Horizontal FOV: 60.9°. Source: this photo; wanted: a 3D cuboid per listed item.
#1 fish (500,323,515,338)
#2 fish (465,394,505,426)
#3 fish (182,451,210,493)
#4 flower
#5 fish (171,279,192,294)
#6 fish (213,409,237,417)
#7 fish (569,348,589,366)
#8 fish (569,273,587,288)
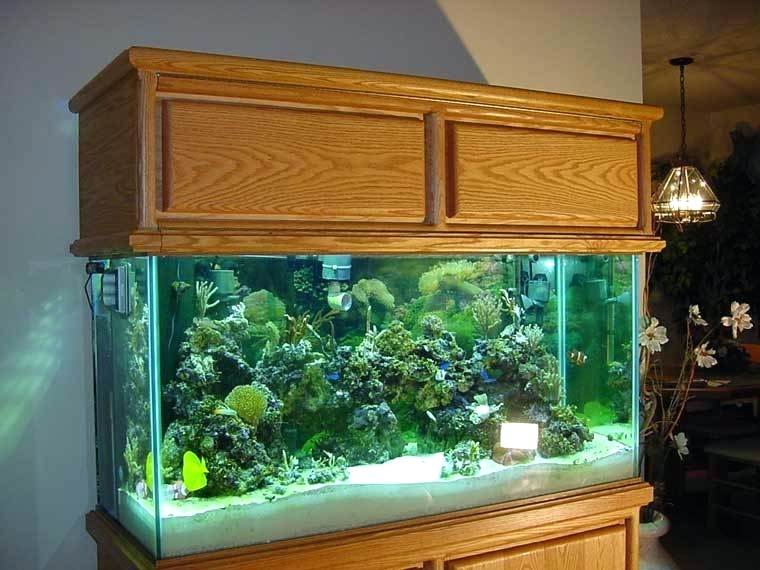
[{"bbox_3d":[0.581,0.205,2.925,0.072,0.057,0.008,-4,0,-11],"label":"fish"},{"bbox_3d":[0.470,0.551,2.888,0.163,0.138,0.042,-4,0,-26],"label":"fish"},{"bbox_3d":[-0.694,0.700,2.422,0.055,0.174,0.106,-6,-10,30],"label":"fish"},{"bbox_3d":[1.826,0.330,3.733,0.696,2.193,0.928,-4,0,20],"label":"flower"},{"bbox_3d":[-0.735,0.007,2.389,0.014,0.046,0.052,15,25,37],"label":"fish"},{"bbox_3d":[-0.595,0.494,2.505,0.055,0.019,0.035,16,9,-14],"label":"fish"},{"bbox_3d":[0.911,0.332,2.957,0.085,0.072,0.011,-4,0,-7],"label":"fish"},{"bbox_3d":[0.900,-0.022,2.927,0.063,0.050,0.051,-6,7,-30],"label":"fish"}]
